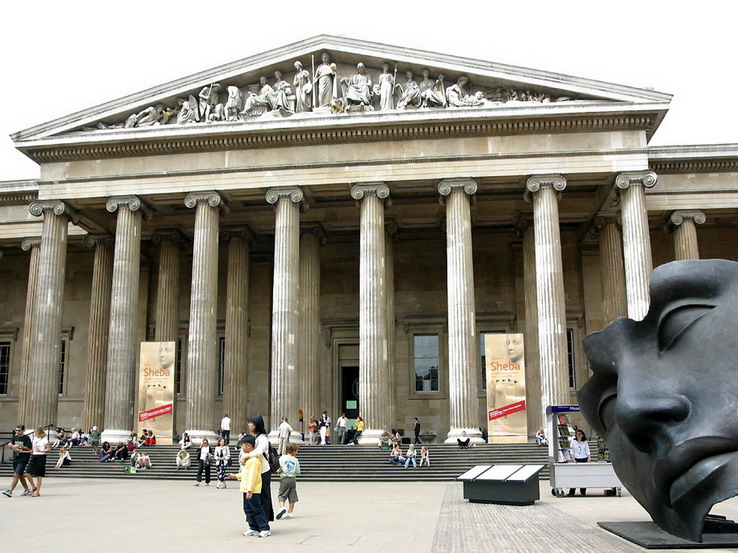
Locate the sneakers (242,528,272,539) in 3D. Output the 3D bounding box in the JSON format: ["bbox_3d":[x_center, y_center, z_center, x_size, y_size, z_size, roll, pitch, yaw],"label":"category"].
[{"bbox_3d":[-2.001,4.596,13.233,0.479,0.117,0.275,-1,-17,-6],"label":"sneakers"}]

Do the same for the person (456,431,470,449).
[{"bbox_3d":[3.831,6.598,29.842,0.513,0.406,0.711,-4,26,8],"label":"person"}]
